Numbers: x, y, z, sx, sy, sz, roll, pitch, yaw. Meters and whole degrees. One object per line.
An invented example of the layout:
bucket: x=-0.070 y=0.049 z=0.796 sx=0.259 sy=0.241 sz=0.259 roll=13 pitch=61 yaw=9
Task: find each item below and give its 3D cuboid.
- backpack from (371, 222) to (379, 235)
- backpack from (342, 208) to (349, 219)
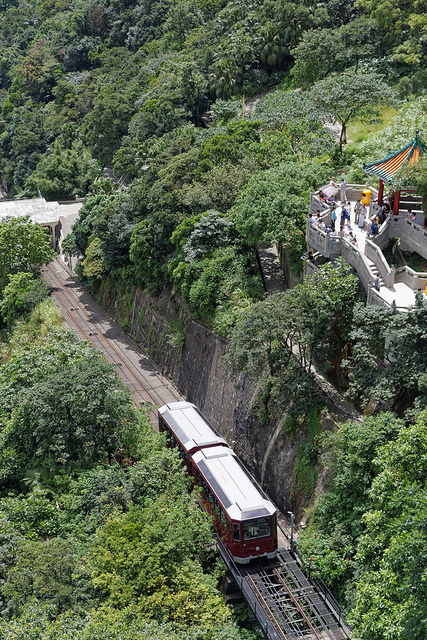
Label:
backpack: x=8.795 y=-4.982 z=34.671 sx=0.280 sy=0.590 sz=0.505 roll=-3 pitch=17 yaw=28
backpack: x=7.610 y=-6.042 z=36.697 sx=0.320 sy=0.345 sz=0.401 roll=-4 pitch=15 yaw=-10
